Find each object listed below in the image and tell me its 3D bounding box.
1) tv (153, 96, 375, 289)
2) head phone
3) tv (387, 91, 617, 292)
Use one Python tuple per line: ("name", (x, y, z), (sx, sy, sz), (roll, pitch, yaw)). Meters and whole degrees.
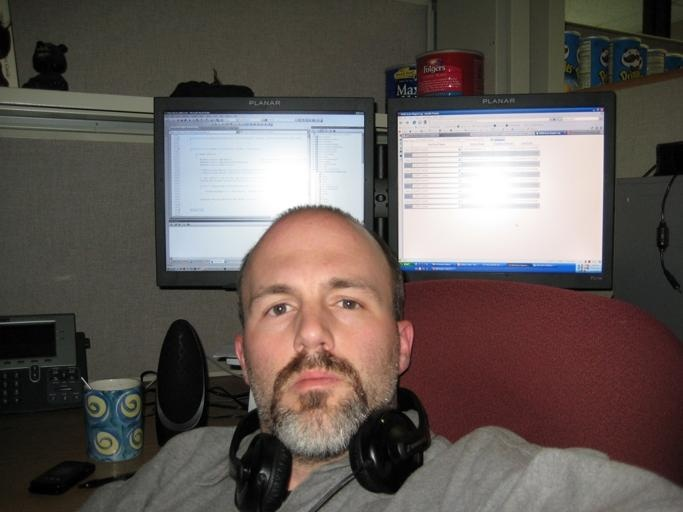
("tv", (-0.198, -0.157, 1.480), (0.452, 0.396, 0.046), (0, 2, -2))
("head phone", (-0.020, 0.345, 1.174), (0.370, 0.180, 0.231), (-1, 8, 3))
("tv", (0.395, -0.153, 1.490), (0.459, 0.407, 0.047), (0, 1, 7))
